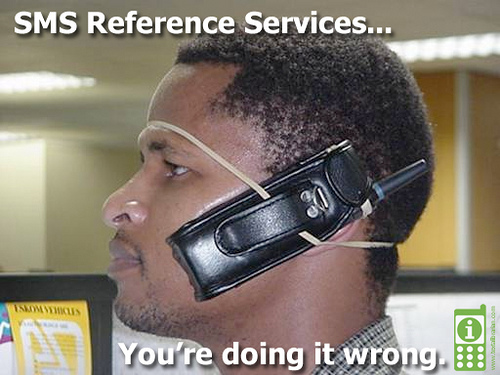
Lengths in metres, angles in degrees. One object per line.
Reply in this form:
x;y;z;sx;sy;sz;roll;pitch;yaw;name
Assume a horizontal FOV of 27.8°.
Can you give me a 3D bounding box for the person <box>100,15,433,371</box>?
0.192;0.106;3.023;1.019;1.162;0.735;7;-10;3;person
